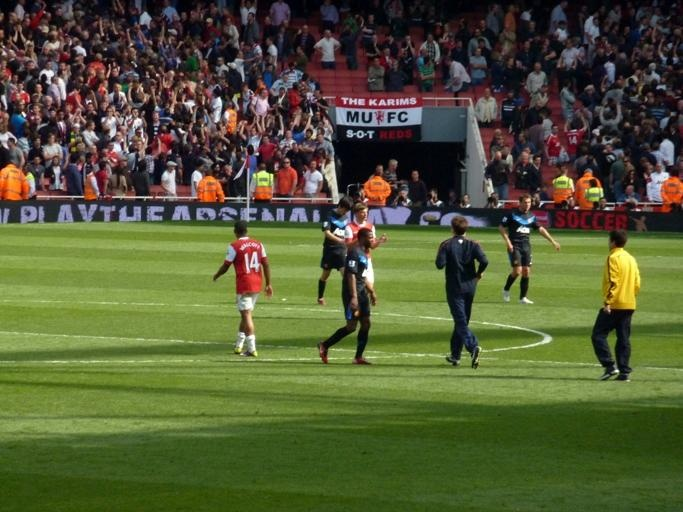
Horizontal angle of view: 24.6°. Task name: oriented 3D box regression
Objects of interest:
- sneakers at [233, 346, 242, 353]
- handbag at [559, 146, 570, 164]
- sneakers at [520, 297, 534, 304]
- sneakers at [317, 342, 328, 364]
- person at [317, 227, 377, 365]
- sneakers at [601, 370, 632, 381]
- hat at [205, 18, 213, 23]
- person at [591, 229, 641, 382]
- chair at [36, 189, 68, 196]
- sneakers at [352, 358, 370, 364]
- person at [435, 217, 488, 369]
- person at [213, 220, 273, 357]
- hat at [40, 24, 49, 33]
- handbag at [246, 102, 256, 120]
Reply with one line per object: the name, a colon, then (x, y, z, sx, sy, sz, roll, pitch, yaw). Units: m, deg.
sneakers: (-2.003, 1.763, 29.769, 0.109, 0.084, 0.117, 3, -6, -35)
handbag: (7.612, -3.509, 53.602, 0.429, 0.525, 0.493, -7, -15, 28)
sneakers: (4.165, 0.960, 35.275, 0.275, 0.110, 0.143, 2, 5, -18)
sneakers: (-0.381, 1.779, 29.344, 0.206, 0.396, 0.146, -7, 11, 15)
person: (0.160, 0.706, 29.390, 0.914, 2.526, 1.147, 1, 10, 1)
sneakers: (4.940, 2.117, 28.140, 0.562, 0.228, 0.212, 3, -2, 12)
hat: (-4.787, -8.492, 55.760, 0.166, 0.115, 0.170, 3, 5, 34)
person: (4.939, 0.868, 28.202, 0.790, 2.664, 0.828, 3, 11, 9)
chair: (-9.265, -2.056, 49.784, 0.675, 0.189, 0.246, 3, -16, -25)
sneakers: (0.341, 1.941, 29.371, 0.328, 0.132, 0.107, 0, 7, -5)
person: (2.197, 0.660, 29.073, 0.918, 2.727, 1.343, 1, 10, 3)
person: (-1.840, 0.594, 29.848, 0.928, 2.482, 1.024, 0, 10, -4)
hat: (-10.004, -7.662, 52.116, 0.307, 0.299, 0.739, -1, 10, -12)
handbag: (-3.144, -4.973, 52.893, 0.240, 0.701, 0.787, -2, 11, -12)
